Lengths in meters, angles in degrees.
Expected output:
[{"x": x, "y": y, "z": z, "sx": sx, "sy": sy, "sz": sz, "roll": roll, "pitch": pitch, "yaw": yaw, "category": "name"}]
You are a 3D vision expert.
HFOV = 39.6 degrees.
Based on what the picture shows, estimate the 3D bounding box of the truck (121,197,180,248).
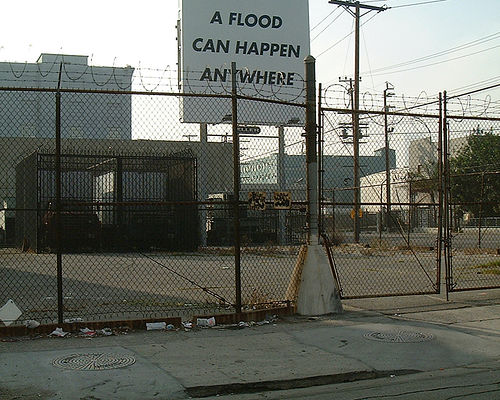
[{"x": -3.775, "y": 0.951, "z": 26.538, "sx": 1.718, "sy": 1.869, "sz": 0.990, "roll": 2, "pitch": -3, "yaw": -4, "category": "truck"}]

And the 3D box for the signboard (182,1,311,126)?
[{"x": -0.261, "y": -7.227, "z": 35.489, "sx": 5.337, "sy": 6.627, "sz": 4.870, "roll": -1, "pitch": 2, "yaw": 19, "category": "signboard"}]

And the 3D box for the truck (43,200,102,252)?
[{"x": -6.173, "y": 0.970, "z": 24.269, "sx": 1.967, "sy": 2.229, "sz": 1.994, "roll": 0, "pitch": 1, "yaw": -19, "category": "truck"}]
